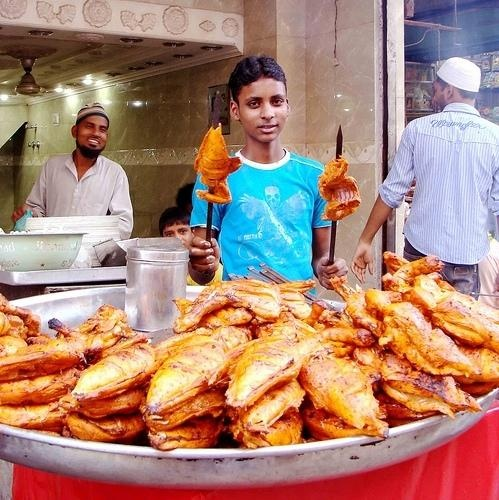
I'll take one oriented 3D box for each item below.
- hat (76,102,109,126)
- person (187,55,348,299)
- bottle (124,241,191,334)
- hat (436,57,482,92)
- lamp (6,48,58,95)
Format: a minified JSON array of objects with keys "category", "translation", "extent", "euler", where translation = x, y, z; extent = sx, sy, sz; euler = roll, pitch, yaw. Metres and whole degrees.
[{"category":"hat","translation":[-1.426,-1.254,4.335],"extent":[0.257,0.211,0.195],"euler":[-16,-13,36]},{"category":"person","translation":[0.035,-0.294,1.697],"extent":[0.566,0.887,0.793],"euler":[0,5,4]},{"category":"bottle","translation":[-0.238,0.083,1.237],"extent":[0.157,0.226,0.158],"euler":[4,10,-1]},{"category":"hat","translation":[1.366,-1.144,3.185],"extent":[0.278,0.146,0.266],"euler":[9,39,-10]},{"category":"lamp","translation":[-2.557,-2.125,5.742],"extent":[0.554,0.387,0.519],"euler":[-4,9,-16]}]
